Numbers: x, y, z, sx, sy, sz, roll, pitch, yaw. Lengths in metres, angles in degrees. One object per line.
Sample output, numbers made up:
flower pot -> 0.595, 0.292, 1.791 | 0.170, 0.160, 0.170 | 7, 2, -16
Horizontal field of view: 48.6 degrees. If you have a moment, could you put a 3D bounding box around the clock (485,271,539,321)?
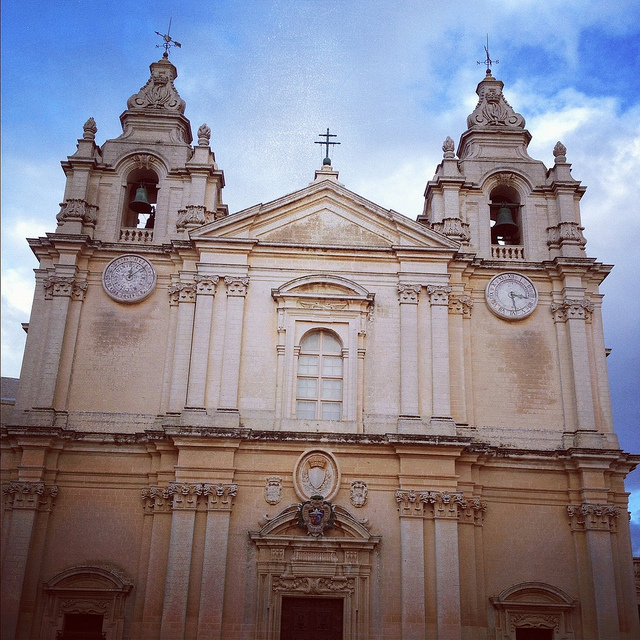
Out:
clock -> 5.346, -0.704, 19.762 | 1.430, 0.174, 1.703 | 6, -46, 20

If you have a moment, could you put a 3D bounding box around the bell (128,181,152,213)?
bell -> -5.300, -3.578, 21.160 | 0.678, 0.804, 0.723 | 2, -31, -2

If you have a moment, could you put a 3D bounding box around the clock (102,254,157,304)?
clock -> -5.252, -1.159, 19.512 | 1.287, 1.377, 1.315 | 5, -17, -24

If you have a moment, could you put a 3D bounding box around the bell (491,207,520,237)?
bell -> 5.573, -2.816, 21.451 | 0.748, 0.856, 0.798 | 0, -29, 5
